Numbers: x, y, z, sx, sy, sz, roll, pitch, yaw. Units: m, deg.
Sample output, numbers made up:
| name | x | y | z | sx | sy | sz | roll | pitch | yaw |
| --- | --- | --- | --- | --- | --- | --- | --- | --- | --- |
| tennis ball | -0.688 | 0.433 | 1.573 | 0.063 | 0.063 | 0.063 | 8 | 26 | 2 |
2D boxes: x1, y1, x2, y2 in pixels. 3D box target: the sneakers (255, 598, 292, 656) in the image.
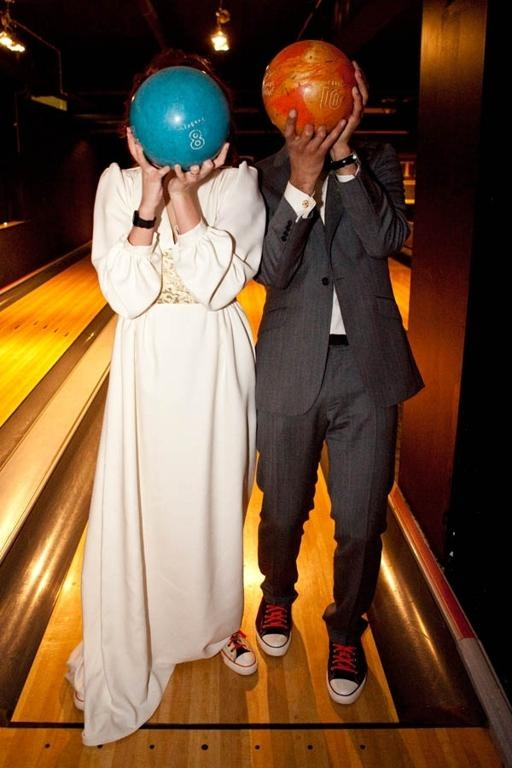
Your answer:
| name | x | y | z | sx | sy | sz | roll | pitch | yaw |
| --- | --- | --- | --- | --- | --- | --- | --- | --- | --- |
| sneakers | 0.051 | 0.738 | 1.582 | 0.088 | 0.101 | 0.255 | 4 | -5 | 0 |

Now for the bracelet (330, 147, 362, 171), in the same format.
| name | x | y | z | sx | sy | sz | roll | pitch | yaw |
| --- | --- | --- | --- | --- | --- | --- | --- | --- | --- |
| bracelet | 0.192 | -0.470 | 1.098 | 0.046 | 0.019 | 0.048 | -20 | 14 | 36 |

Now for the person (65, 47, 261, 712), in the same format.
| name | x | y | z | sx | sy | sz | roll | pitch | yaw |
| --- | --- | --- | --- | --- | --- | --- | --- | --- | --- |
| person | -0.198 | 0.146 | 1.214 | 0.504 | 1.371 | 0.379 | -3 | 10 | -23 |

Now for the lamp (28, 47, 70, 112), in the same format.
| name | x | y | z | sx | sy | sz | roll | pitch | yaw |
| --- | --- | --- | --- | --- | --- | --- | --- | --- | --- |
| lamp | -3.887 | -5.650 | 9.249 | 0.436 | 0.841 | 0.838 | -10 | 38 | -40 |

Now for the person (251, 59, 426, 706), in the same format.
| name | x | y | z | sx | sy | sz | roll | pitch | yaw |
| --- | --- | --- | --- | --- | --- | --- | --- | --- | --- |
| person | 0.204 | 0.067 | 1.320 | 0.402 | 1.521 | 0.441 | -1 | 10 | -13 |

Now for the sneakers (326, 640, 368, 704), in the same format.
| name | x | y | z | sx | sy | sz | roll | pitch | yaw |
| --- | --- | --- | --- | --- | --- | --- | --- | --- | --- |
| sneakers | 0.250 | 0.781 | 1.443 | 0.091 | 0.096 | 0.255 | -4 | -1 | 12 |

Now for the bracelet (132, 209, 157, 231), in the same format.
| name | x | y | z | sx | sy | sz | roll | pitch | yaw |
| --- | --- | --- | --- | --- | --- | --- | --- | --- | --- |
| bracelet | -0.224 | -0.325 | 1.035 | 0.042 | 0.033 | 0.049 | 4 | 14 | 12 |
